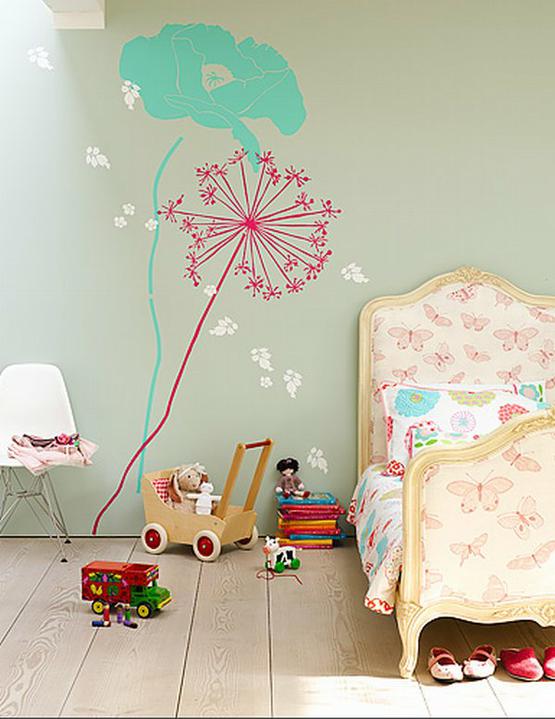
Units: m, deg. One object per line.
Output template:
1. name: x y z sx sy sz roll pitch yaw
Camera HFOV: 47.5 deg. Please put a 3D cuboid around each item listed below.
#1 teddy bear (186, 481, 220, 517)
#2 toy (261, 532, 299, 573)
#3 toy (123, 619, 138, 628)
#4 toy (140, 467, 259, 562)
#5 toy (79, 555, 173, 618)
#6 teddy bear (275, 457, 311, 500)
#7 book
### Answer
1. teddy bear: -0.344 0.630 2.846 0.175 0.170 0.057 3 -43 -4
2. toy: 0.015 0.821 2.679 0.202 0.131 0.096 7 -11 -32
3. toy: -0.486 0.872 2.083 0.042 0.020 0.063 18 -20 -25
4. toy: -0.362 0.679 2.860 0.488 0.329 0.382 -2 -3 20
5. toy: -0.520 0.785 2.186 0.300 0.152 0.159 0 0 5
6. teddy bear: 0.060 0.559 3.013 0.160 0.177 0.179 2 -9 -15
7. book: 0.146 0.739 2.894 0.293 0.120 0.265 1 3 -5
